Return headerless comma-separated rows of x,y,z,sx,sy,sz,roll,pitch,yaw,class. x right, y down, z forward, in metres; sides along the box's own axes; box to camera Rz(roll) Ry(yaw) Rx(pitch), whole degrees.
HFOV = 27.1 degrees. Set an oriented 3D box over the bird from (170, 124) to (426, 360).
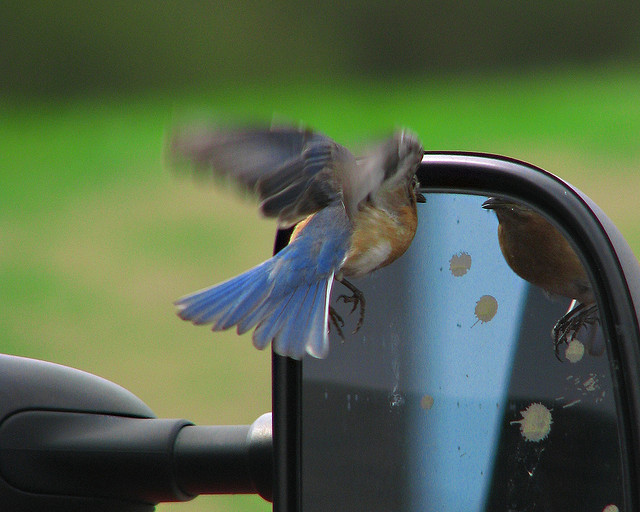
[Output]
0.011,-0.064,3.675,0.745,0.658,0.820,7,-2,-32,bird
